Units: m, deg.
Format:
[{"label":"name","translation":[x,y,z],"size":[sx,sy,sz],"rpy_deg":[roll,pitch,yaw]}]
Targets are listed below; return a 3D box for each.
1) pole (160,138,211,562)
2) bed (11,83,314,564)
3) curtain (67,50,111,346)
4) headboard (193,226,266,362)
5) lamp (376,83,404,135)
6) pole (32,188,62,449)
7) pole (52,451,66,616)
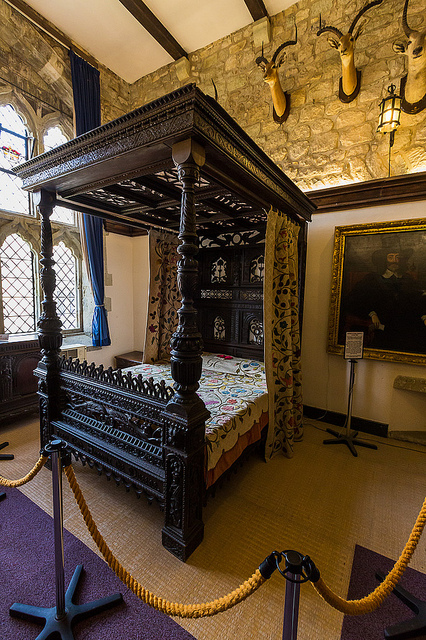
[{"label":"pole","translation":[-0.153,0.197,2.356],"size":[0.254,2.267,0.351],"rpy_deg":[6,12,23]},{"label":"bed","translation":[-0.345,-0.214,3.758],"size":[2.249,2.567,2.401],"rpy_deg":[10,15,35]},{"label":"curtain","translation":[-1.416,-1.334,4.964],"size":[0.362,3.328,0.772],"rpy_deg":[-2,12,-17]},{"label":"headboard","translation":[0.212,-0.277,4.400],"size":[1.214,1.485,0.142],"rpy_deg":[7,10,43]},{"label":"lamp","translation":[1.468,-1.782,3.518],"size":[0.181,0.422,0.462],"rpy_deg":[5,13,19]},{"label":"pole","translation":[-1.248,0.028,3.221],"size":[0.211,1.956,0.390],"rpy_deg":[-4,12,-23]},{"label":"pole","translation":[-0.718,0.977,2.009],"size":[0.053,0.817,0.169],"rpy_deg":[-2,12,-17]}]
